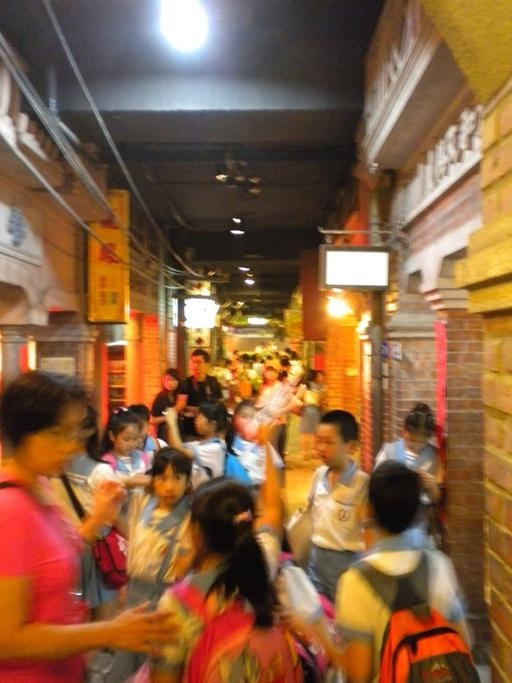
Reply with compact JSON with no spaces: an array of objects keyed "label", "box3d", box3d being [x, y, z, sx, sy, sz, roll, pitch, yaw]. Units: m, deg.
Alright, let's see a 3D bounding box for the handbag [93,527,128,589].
[{"label":"handbag","box3d":[-0.747,1.138,2.900,0.159,0.289,0.233,-11,-16,2]}]
